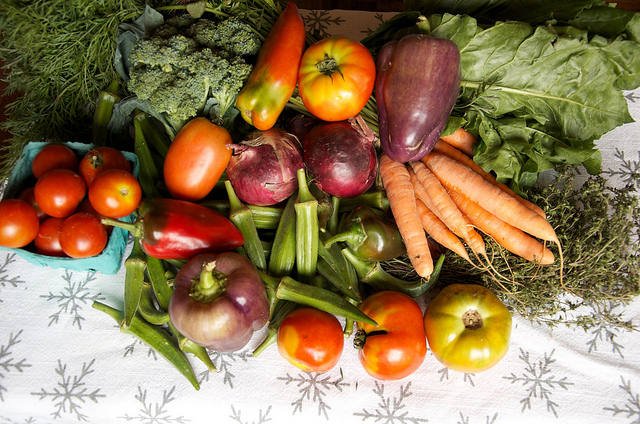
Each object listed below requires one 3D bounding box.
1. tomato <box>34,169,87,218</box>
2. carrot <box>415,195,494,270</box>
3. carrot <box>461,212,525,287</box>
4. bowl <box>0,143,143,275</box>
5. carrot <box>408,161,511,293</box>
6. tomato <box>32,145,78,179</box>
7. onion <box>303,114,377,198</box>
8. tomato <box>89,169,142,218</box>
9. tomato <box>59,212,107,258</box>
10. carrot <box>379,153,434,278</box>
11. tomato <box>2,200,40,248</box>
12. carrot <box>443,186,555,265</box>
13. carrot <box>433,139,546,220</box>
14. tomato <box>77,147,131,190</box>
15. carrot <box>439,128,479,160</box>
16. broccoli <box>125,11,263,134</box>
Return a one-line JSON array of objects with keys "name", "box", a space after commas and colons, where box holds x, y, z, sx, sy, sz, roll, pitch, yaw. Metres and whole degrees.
[{"name": "tomato", "box": [-0.746, -0.061, 1.592, 0.137, 0.139, 0.134, 0, 8, 6]}, {"name": "carrot", "box": [0.434, 0.065, 1.693, 0.050, 0.065, 0.285, -4, 48, -49]}, {"name": "carrot", "box": [0.490, 0.087, 1.659, 0.050, 0.031, 0.383, 31, 20, -45]}, {"name": "bowl", "box": [-0.740, 0.012, 1.591, 0.386, 0.403, 0.264, 0, 20, -19]}, {"name": "carrot", "box": [0.451, 0.053, 1.688, 0.053, 0.051, 0.477, -23, 73, -46]}, {"name": "tomato", "box": [-0.824, -0.141, 1.605, 0.072, 0.088, 0.074, -19, -25, 10]}, {"name": "onion", "box": [0.078, -0.181, 1.747, 0.233, 0.242, 0.237, 18, -32, -18]}, {"name": "tomato", "box": [-0.605, -0.062, 1.593, 0.173, 0.170, 0.167, -2, -1, -22]}, {"name": "tomato", "box": [-0.674, 0.066, 1.564, 0.123, 0.124, 0.124, -2, 2, 8]}, {"name": "carrot", "box": [0.279, 0.015, 1.725, 0.107, 0.491, 0.101, -21, -12, 10]}, {"name": "tomato", "box": [-0.859, 0.033, 1.525, 0.093, 0.132, 0.068, -3, 21, -27]}, {"name": "carrot", "box": [0.571, 0.044, 1.668, 0.337, 0.058, 0.060, 39, 10, 19]}, {"name": "carrot", "box": [0.550, -0.097, 1.702, 0.398, 0.043, 0.044, 35, 1, 9]}, {"name": "tomato", "box": [-0.653, -0.146, 1.645, 0.130, 0.131, 0.129, -9, -16, 0]}, {"name": "carrot", "box": [0.474, -0.235, 1.767, 0.178, 0.054, 0.057, 29, 11, 4]}, {"name": "broccoli", "box": [-0.393, -0.447, 1.635, 0.338, 0.376, 0.148, -9, -6, 7]}]
